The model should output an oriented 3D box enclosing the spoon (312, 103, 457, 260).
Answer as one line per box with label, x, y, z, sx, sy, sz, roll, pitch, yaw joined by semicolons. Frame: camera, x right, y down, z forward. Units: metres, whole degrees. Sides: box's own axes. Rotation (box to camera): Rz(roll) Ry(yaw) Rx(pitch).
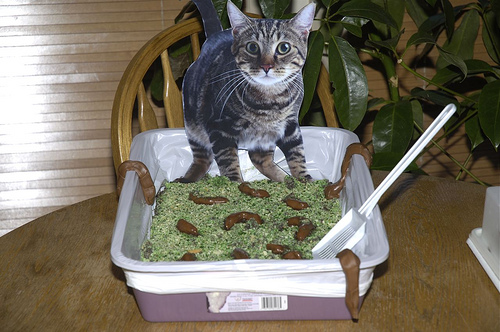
spoon;0.401;0.048;1.465;0.649;0.052;0.096;-49;31;10
